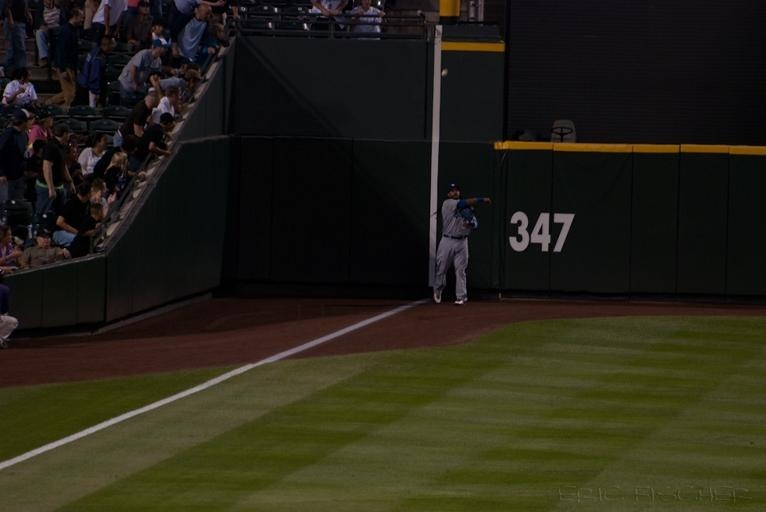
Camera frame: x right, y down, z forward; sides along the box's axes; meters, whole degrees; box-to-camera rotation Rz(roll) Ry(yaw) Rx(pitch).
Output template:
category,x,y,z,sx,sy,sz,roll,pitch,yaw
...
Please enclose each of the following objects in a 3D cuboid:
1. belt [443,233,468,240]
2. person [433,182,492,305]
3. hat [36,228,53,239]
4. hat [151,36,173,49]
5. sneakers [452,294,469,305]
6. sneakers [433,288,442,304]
category,x,y,z,sx,sy,sz,roll,pitch,yaw
belt,1.270,-0.371,23.941,0.385,0.107,0.123,1,8,-1
person,1.317,-0.193,23.969,0.980,2.197,0.469,8,10,39
hat,-5.543,-0.381,21.880,0.162,0.194,0.211,2,-3,33
hat,-4.188,-4.089,25.510,0.381,0.176,0.233,3,12,-26
sneakers,1.397,0.785,24.255,0.215,0.243,0.572,1,0,18
sneakers,0.994,0.712,24.358,0.119,0.294,0.119,-2,26,-22
